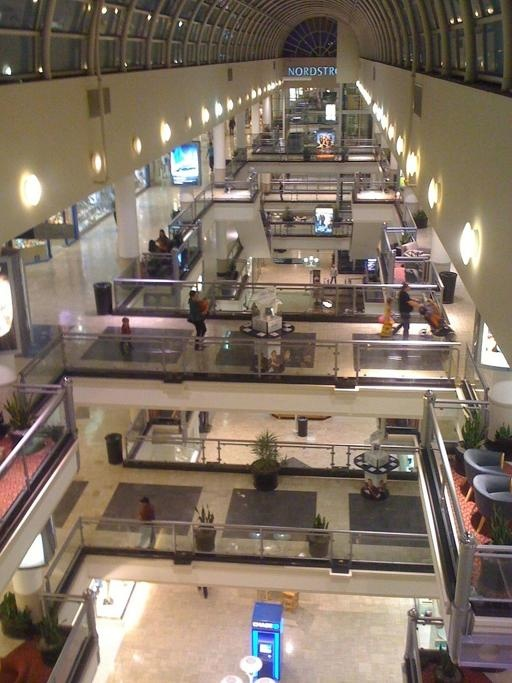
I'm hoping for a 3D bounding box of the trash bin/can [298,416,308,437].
[{"bbox_3d":[2.190,4.012,24.214,0.515,0.775,0.649,1,14,4],"label":"trash bin/can"}]

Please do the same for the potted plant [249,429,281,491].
[{"bbox_3d":[0.282,3.350,14.465,0.789,1.504,1.008,1,14,5],"label":"potted plant"}]

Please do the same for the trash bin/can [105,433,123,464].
[{"bbox_3d":[-4.327,3.327,15.851,0.454,0.931,0.358,-4,14,-16],"label":"trash bin/can"}]

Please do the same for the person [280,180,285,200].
[{"bbox_3d":[1.795,-10.574,36.141,0.333,1.346,0.489,0,13,2],"label":"person"}]

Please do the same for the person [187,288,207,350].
[{"bbox_3d":[-1.508,-0.627,13.959,0.479,1.583,0.502,-4,21,3],"label":"person"}]

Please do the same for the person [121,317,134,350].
[{"bbox_3d":[-3.403,-0.256,13.612,0.265,0.758,1.343,-4,16,-15],"label":"person"}]

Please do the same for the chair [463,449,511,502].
[{"bbox_3d":[2.750,1.529,6.175,0.452,0.613,0.572,0,27,9],"label":"chair"}]

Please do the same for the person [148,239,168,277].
[{"bbox_3d":[-3.431,-2.904,18.195,0.504,0.995,1.040,2,45,4],"label":"person"}]

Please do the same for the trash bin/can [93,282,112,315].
[{"bbox_3d":[-4.822,-1.364,16.458,0.520,1.033,0.637,-5,15,-18],"label":"trash bin/can"}]

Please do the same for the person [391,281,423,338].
[{"bbox_3d":[3.928,-0.797,13.187,0.563,1.543,0.645,-14,22,-17],"label":"person"}]

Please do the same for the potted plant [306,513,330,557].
[{"bbox_3d":[1.490,4.676,12.356,0.518,1.320,0.607,5,29,9],"label":"potted plant"}]

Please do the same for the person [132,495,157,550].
[{"bbox_3d":[-2.635,4.429,12.533,0.376,1.457,0.719,-4,14,-16],"label":"person"}]

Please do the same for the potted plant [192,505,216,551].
[{"bbox_3d":[-1.269,4.631,12.689,0.536,1.485,0.698,0,35,-1],"label":"potted plant"}]
